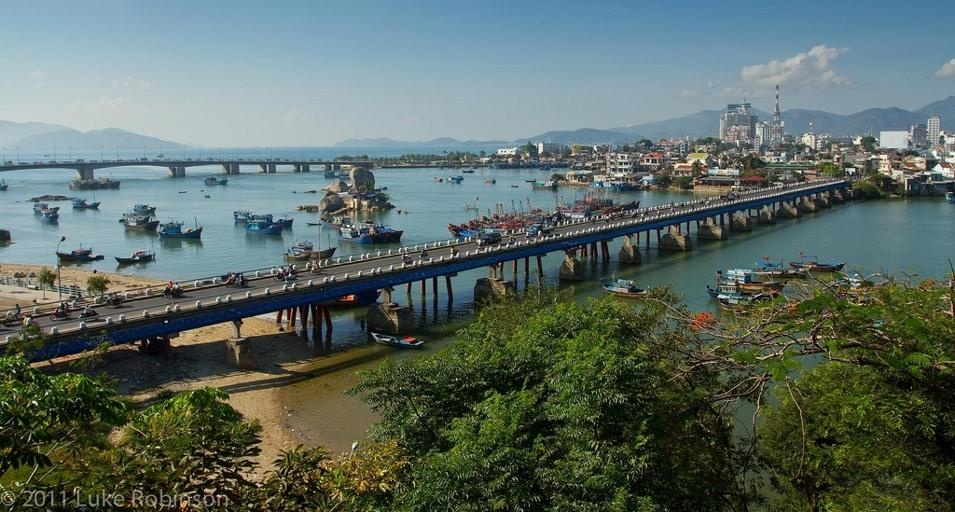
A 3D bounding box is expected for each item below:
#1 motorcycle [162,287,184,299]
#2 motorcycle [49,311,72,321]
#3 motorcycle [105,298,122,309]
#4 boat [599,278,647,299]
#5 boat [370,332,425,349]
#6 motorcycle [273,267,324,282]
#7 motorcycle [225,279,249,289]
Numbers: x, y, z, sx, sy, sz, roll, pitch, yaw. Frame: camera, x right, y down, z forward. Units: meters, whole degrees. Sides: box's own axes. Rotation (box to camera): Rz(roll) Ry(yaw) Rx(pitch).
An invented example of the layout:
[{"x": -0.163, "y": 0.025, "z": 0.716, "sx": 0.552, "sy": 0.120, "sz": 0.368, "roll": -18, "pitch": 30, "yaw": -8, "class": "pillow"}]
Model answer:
[{"x": -14.474, "y": 1.720, "z": 32.555, "sx": 0.879, "sy": 0.492, "sz": 0.657, "roll": -7, "pitch": 8, "yaw": -14, "class": "motorcycle"}, {"x": -17.955, "y": 2.513, "z": 29.561, "sx": 0.749, "sy": 0.343, "sz": 0.788, "roll": -9, "pitch": 9, "yaw": -30, "class": "motorcycle"}, {"x": -16.633, "y": 2.112, "z": 31.374, "sx": 0.720, "sy": 0.357, "sz": 0.399, "roll": 3, "pitch": 1, "yaw": -28, "class": "motorcycle"}, {"x": 8.685, "y": 1.864, "z": 40.729, "sx": 1.358, "sy": 0.849, "sz": 2.544, "roll": -11, "pitch": 10, "yaw": -39, "class": "boat"}, {"x": -4.031, "y": 4.058, "z": 33.054, "sx": 2.403, "sy": 0.401, "sz": 0.870, "roll": 5, "pitch": 10, "yaw": 20, "class": "boat"}, {"x": -9.688, "y": 0.994, "z": 36.467, "sx": 2.288, "sy": 0.854, "sz": 0.908, "roll": 1, "pitch": 3, "yaw": -1, "class": "motorcycle"}, {"x": -12.032, "y": 1.353, "z": 34.364, "sx": 0.911, "sy": 0.388, "sz": 0.444, "roll": 4, "pitch": 26, "yaw": 6, "class": "motorcycle"}]
